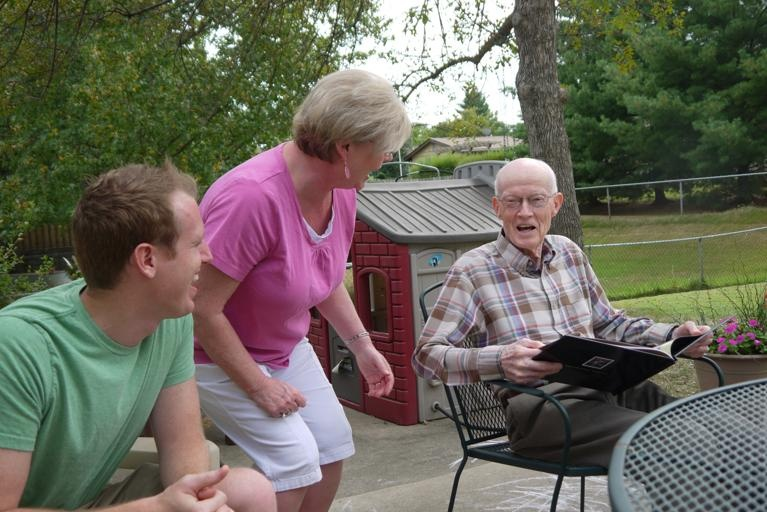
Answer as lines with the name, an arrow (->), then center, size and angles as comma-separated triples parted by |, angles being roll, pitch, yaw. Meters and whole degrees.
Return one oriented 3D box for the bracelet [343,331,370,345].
bracelet -> -0.138, 0.417, 3.327 | 0.082, 0.032, 0.074 | -31, -8, 15
